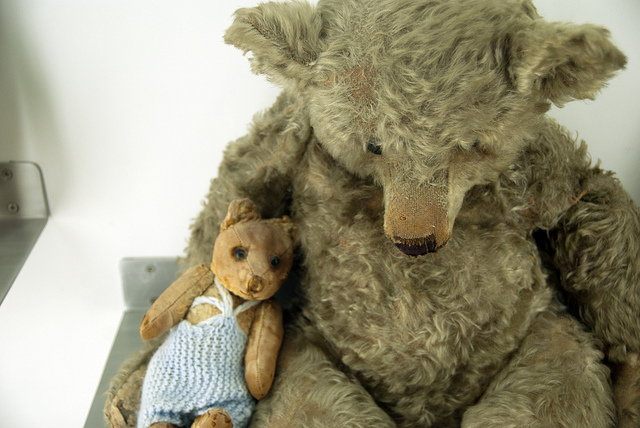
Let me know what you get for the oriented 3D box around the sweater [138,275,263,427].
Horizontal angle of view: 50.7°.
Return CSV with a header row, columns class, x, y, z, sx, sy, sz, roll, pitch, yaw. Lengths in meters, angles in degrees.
class,x,y,z,sx,sy,sz,roll,pitch,yaw
sweater,-0.166,0.193,0.941,0.156,0.205,0.046,1,3,-5
